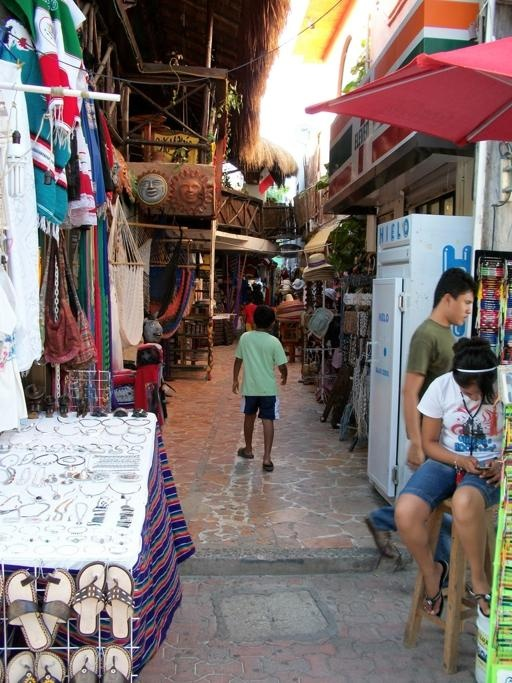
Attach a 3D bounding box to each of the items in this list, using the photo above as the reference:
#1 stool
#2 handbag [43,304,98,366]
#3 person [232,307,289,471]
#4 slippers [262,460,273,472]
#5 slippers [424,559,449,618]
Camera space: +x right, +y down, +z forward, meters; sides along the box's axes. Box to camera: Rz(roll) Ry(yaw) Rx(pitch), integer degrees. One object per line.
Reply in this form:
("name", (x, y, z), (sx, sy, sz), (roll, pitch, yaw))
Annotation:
("stool", (0.949, 1.058, 2.523), (0.352, 0.755, 0.844), (3, 4, 26))
("handbag", (-0.979, -0.017, 2.717), (0.253, 0.319, 0.136), (1, -6, -13))
("person", (0.043, 0.436, 5.313), (0.536, 1.600, 0.748), (1, 4, -4))
("slippers", (0.109, 1.204, 5.044), (0.074, 0.059, 0.202), (0, 7, -2))
("slippers", (0.812, 1.076, 2.354), (0.079, 0.276, 0.094), (5, 1, -43))
